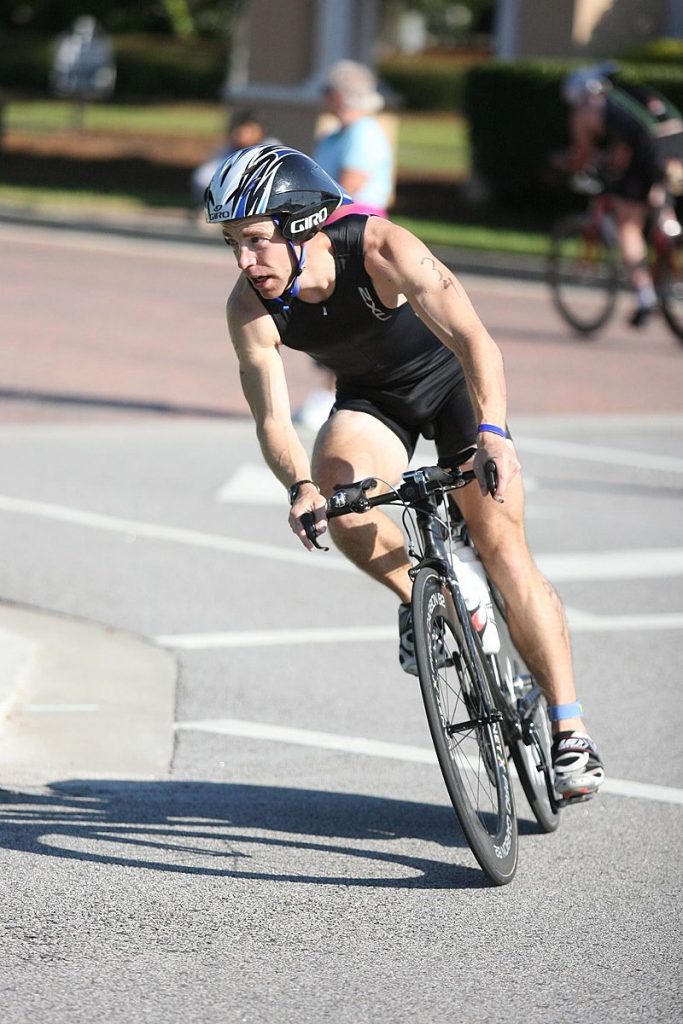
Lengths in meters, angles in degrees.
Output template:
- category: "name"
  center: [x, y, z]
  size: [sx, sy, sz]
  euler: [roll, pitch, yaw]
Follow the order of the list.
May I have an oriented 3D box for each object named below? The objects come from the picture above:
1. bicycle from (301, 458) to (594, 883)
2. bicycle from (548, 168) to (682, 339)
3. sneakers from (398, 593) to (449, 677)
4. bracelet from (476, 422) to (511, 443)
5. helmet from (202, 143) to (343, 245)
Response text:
- category: "bicycle"
  center: [0.409, 0.451, 3.331]
  size: [0.766, 1.005, 1.870]
  euler: [-13, -6, 14]
- category: "bicycle"
  center: [3.162, -2.730, 12.485]
  size: [1.305, 1.460, 2.604]
  euler: [-7, -1, 39]
- category: "sneakers"
  center: [0.211, 0.286, 2.761]
  size: [0.114, 0.083, 0.211]
  euler: [40, 21, -7]
- category: "bracelet"
  center: [0.375, -0.184, 2.709]
  size: [0.062, 0.015, 0.054]
  euler: [16, -2, -23]
- category: "helmet"
  center: [-0.138, -0.837, 2.933]
  size: [0.404, 0.223, 0.285]
  euler: [-8, 26, -21]
